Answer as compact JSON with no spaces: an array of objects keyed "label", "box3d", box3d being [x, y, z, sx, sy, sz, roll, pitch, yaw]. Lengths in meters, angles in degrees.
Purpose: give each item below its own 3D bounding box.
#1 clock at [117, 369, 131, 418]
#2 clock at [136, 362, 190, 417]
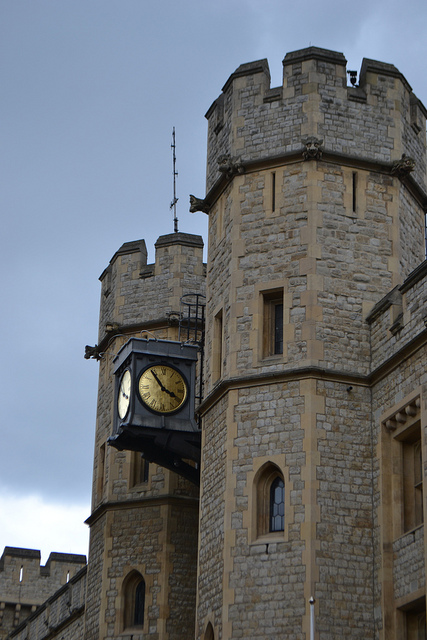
[{"label":"clock","box3d":[-1.555,1.333,26.467,0.058,0.786,0.666,5,-8,-8]},{"label":"clock","box3d":[-0.877,1.224,26.326,0.894,0.067,1.150,7,-53,-2]}]
